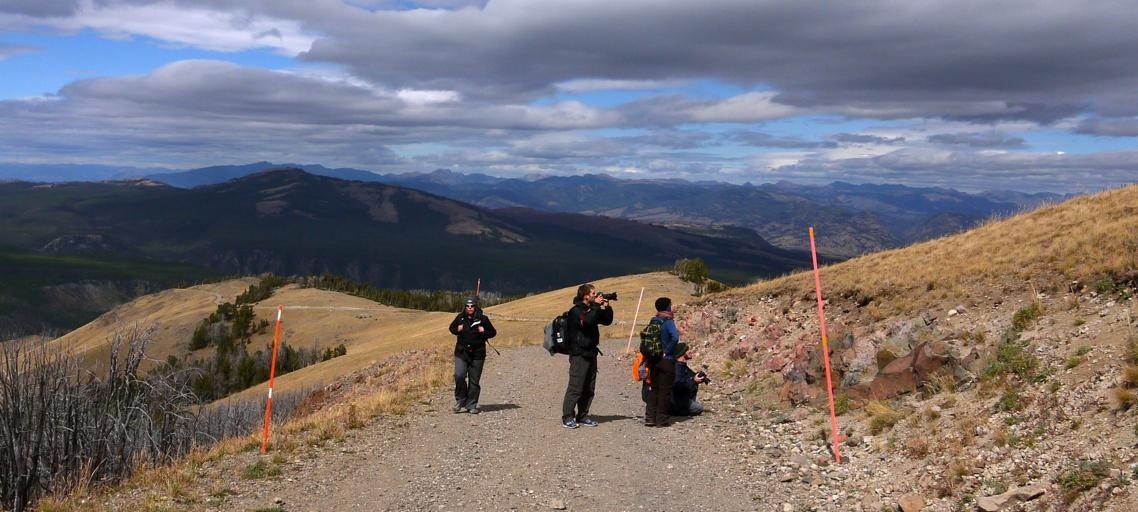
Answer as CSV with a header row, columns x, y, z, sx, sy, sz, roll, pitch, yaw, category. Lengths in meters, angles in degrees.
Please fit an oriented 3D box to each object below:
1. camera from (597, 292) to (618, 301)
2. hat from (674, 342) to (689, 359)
x,y,z,sx,sy,sz,roll,pitch,yaw,category
1.504,1.658,27.027,0.779,0.363,0.301,-2,-30,16,camera
4.536,3.804,27.174,0.404,0.689,1.058,3,12,22,hat
